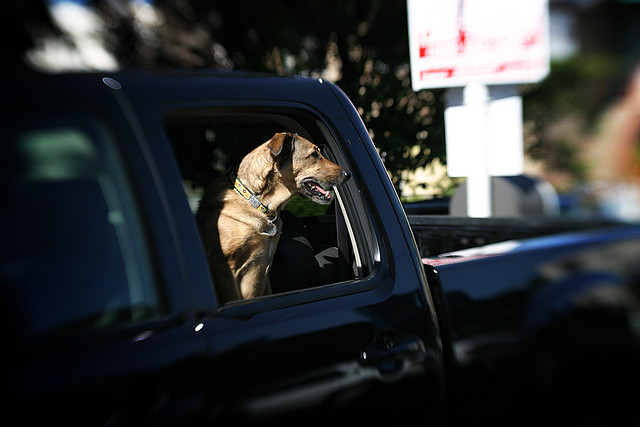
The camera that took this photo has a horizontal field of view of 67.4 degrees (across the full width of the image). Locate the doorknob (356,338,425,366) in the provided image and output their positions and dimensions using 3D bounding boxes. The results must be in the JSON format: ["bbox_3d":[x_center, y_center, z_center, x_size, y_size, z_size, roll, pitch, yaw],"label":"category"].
[{"bbox_3d":[0.271,0.526,1.826,0.171,0.097,0.171,-2,7,-9],"label":"doorknob"}]
